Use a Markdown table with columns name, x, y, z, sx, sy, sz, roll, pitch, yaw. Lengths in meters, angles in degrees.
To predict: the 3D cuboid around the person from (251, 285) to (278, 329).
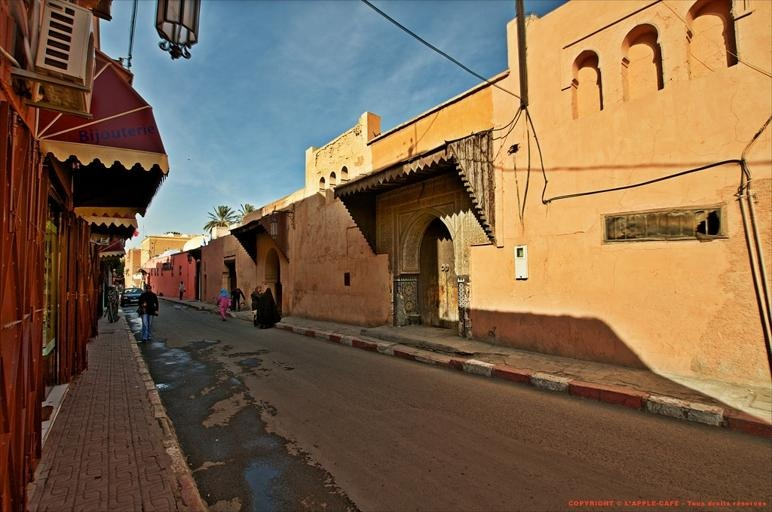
| name | x | y | z | sx | sy | sz | roll | pitch | yaw |
| --- | --- | --- | --- | --- | --- | --- | --- | --- | --- |
| person | -4.125 | 1.774 | 18.266 | 0.870 | 1.315 | 2.173 | -4 | 15 | -16 |
